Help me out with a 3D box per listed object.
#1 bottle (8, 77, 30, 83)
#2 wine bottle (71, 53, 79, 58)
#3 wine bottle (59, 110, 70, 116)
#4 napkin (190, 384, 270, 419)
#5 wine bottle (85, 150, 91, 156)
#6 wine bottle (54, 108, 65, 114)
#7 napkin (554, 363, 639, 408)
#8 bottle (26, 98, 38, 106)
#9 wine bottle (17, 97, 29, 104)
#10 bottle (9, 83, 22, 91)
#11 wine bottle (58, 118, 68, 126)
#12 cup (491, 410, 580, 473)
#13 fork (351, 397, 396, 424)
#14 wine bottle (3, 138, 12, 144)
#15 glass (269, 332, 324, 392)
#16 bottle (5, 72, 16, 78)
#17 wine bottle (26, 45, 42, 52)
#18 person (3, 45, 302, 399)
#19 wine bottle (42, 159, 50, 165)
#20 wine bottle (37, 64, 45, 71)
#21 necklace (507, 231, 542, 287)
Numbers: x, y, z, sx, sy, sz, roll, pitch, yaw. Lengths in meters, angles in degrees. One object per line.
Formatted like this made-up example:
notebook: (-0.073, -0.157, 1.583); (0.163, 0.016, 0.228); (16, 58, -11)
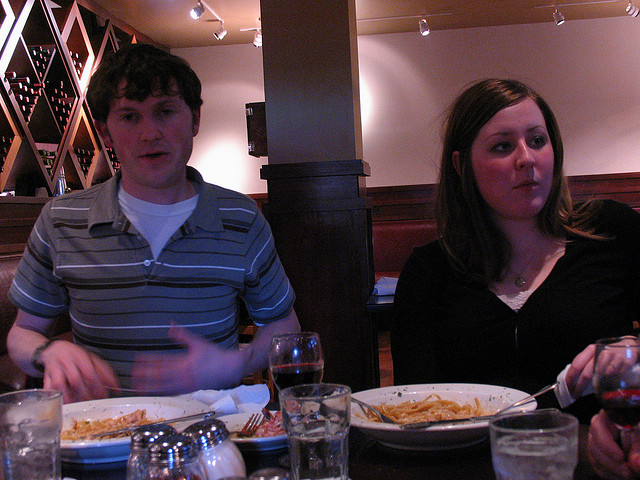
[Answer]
bottle: (-2.125, -1.136, 3.782); (0.081, 0.023, 0.082); (1, 16, 0)
wine bottle: (-2.117, -1.614, 4.646); (0.026, 0.053, 0.070); (-3, 3, 26)
wine bottle: (-2.090, -1.048, 4.388); (0.067, 0.016, 0.063); (-1, -7, 0)
napkin: (-0.193, 0.372, 1.248); (0.080, 0.025, 0.079); (1, 8, 33)
wine bottle: (-2.075, -0.792, 4.807); (0.038, 0.043, 0.111); (-5, 3, -16)
wine bottle: (-2.104, -1.054, 4.342); (0.012, 0.041, 0.103); (-3, 3, 16)
napkin: (0.546, 0.286, 1.075); (0.149, 0.061, 0.084); (-23, 14, 24)
bottle: (-2.142, -1.039, 3.998); (0.086, 0.047, 0.059); (-10, 37, -22)
wine bottle: (-2.175, -1.035, 3.944); (0.016, 0.043, 0.098); (-3, 3, 15)
bottle: (-2.168, -1.103, 3.828); (0.055, 0.023, 0.057); (-8, -34, -5)
wine bottle: (-2.091, -0.977, 4.372); (0.022, 0.050, 0.095); (-2, 4, 31)
cup: (0.335, 0.315, 0.830); (0.140, 0.081, 0.078); (-4, 3, -6)
fork: (0.116, 0.373, 1.165); (0.013, 0.012, 0.078); (-18, 34, -31)
wine bottle: (-2.227, -0.714, 3.839); (0.030, 0.018, 0.043); (5, 33, -8)
glass: (-0.051, 0.270, 1.194); (0.113, 0.127, 0.186); (-4, 3, -1)
bottle: (-2.171, -1.169, 3.771); (0.060, 0.030, 0.044); (2, 8, -2)
wine bottle: (-2.182, -1.478, 4.108); (0.102, 0.048, 0.094); (-4, 3, 0)
person: (-0.570, -0.079, 1.570); (0.879, 0.738, 0.615); (-4, 3, 6)
wine bottle: (-2.114, -0.612, 4.144); (0.022, 0.033, 0.090); (-5, 3, -8)
wine bottle: (-2.138, -1.340, 4.119); (0.009, 0.036, 0.067); (-3, 3, 18)
necklace: (0.634, 0.056, 1.701); (0.165, 0.171, 0.015); (2, -10, 38)
